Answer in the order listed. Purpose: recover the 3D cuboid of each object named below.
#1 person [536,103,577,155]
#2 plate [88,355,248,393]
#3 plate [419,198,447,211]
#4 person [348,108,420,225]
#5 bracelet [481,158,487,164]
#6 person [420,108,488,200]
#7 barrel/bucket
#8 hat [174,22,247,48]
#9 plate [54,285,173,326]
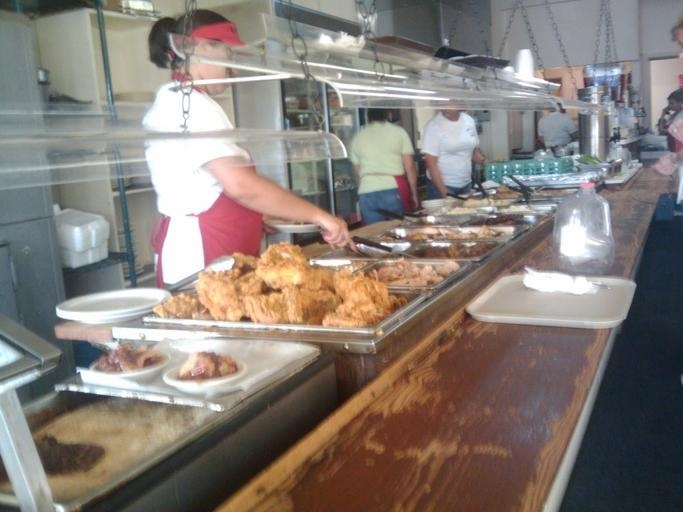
[{"bbox_3d":[3.475,-2.047,7.551,0.585,0.944,0.499,5,33,42],"label":"person"},{"bbox_3d":[-0.334,0.249,0.970,0.154,0.016,0.145,2,7,13],"label":"plate"},{"bbox_3d":[0.652,-0.365,3.413,0.139,0.063,0.147,-2,-1,-2],"label":"plate"},{"bbox_3d":[0.413,-0.795,4.464,0.561,0.949,0.476,-15,18,-42],"label":"person"},{"bbox_3d":[1.469,-0.988,4.896,0.044,0.022,0.057,5,34,11],"label":"bracelet"},{"bbox_3d":[1.045,-0.985,4.548,0.567,0.807,0.385,-12,16,-35],"label":"person"},{"bbox_3d":[0.987,-0.111,1.921,0.220,0.330,0.167,3,15,25],"label":"barrel/bucket"},{"bbox_3d":[-0.413,-0.729,1.534,0.237,0.073,0.148,0,14,-14],"label":"hat"},{"bbox_3d":[-0.722,0.155,1.512,0.324,0.044,0.264,-5,12,-11],"label":"plate"}]
